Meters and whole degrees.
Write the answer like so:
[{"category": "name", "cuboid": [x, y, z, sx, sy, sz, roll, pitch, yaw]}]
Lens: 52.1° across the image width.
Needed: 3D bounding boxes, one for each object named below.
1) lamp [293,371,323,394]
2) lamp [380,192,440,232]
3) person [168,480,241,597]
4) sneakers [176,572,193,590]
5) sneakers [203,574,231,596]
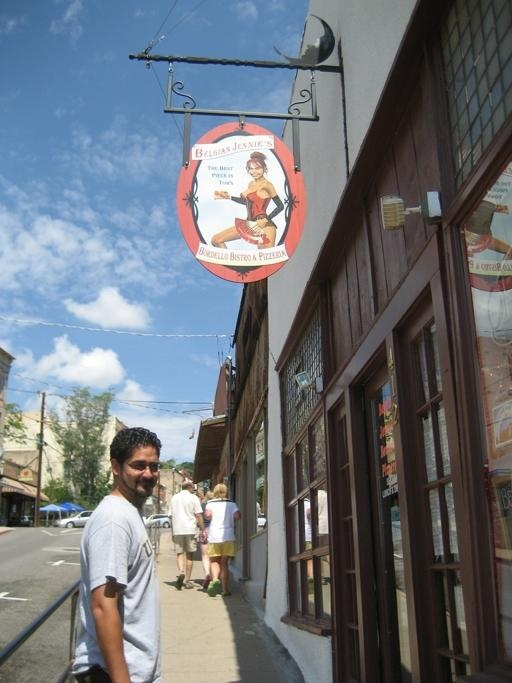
[{"category": "lamp", "cuboid": [0.483, 0.364, 4.745, 0.200, 0.153, 0.144, 3, -13, -2]}, {"category": "lamp", "cuboid": [0.653, -0.548, 2.211, 0.204, 0.157, 0.135, -2, 7, -4]}, {"category": "person", "cuboid": [-0.550, 3.032, 7.988, 0.576, 1.659, 1.265, -2, -14, -4]}, {"category": "sneakers", "cuboid": [-1.120, 3.697, 8.071, 0.157, 0.216, 0.503, 2, -6, -2]}, {"category": "sneakers", "cuboid": [-0.571, 3.547, 7.573, 0.215, 0.286, 0.653, -4, -35, -15]}]
